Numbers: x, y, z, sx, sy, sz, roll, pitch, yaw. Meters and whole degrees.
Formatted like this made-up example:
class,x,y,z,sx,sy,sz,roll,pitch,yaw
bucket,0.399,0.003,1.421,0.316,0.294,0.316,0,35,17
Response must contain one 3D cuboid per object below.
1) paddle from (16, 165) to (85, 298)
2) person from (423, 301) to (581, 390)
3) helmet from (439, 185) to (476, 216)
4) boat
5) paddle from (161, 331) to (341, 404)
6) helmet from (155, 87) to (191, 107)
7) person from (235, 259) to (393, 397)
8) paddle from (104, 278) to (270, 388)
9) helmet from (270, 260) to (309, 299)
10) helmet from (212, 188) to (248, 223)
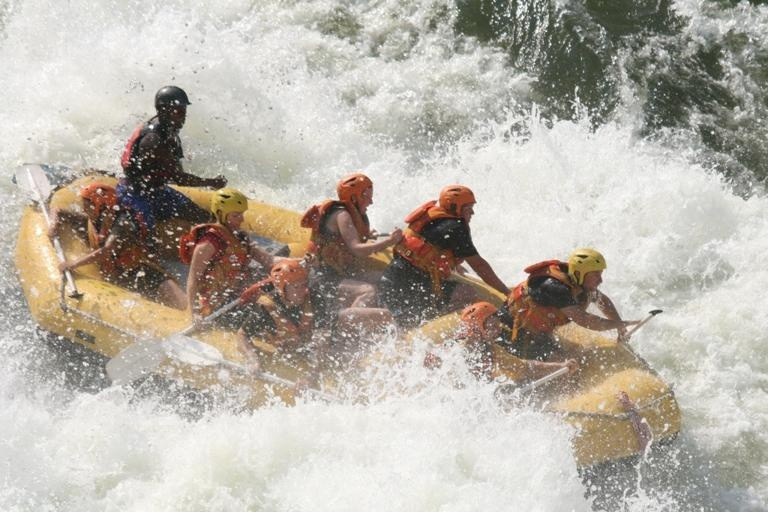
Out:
class,x,y,z,sx,sy,sz,roll,pitch,yaw
paddle,-4.293,-0.262,12.220,0.307,0.159,1.886,-24,74,-13
person,1.362,1.081,11.448,1.675,0.592,0.838,9,59,5
helmet,0.903,-0.699,12.027,0.433,0.334,0.388,-3,99,-1
boat,-1.132,1.792,12.520,9.433,1.648,3.354,16,38,4
paddle,-1.619,1.362,11.406,1.867,0.091,0.372,19,60,9
helmet,-2.773,-2.081,12.447,0.364,0.274,0.262,6,95,1
person,-0.892,0.847,11.425,1.558,1.013,1.723,12,33,15
paddle,-2.366,0.987,11.539,2.686,0.117,0.467,-27,87,-7
helmet,-1.159,0.223,11.387,0.400,0.245,0.359,-25,62,-14
helmet,-1.938,-0.673,11.789,0.440,0.343,0.402,-13,107,10
